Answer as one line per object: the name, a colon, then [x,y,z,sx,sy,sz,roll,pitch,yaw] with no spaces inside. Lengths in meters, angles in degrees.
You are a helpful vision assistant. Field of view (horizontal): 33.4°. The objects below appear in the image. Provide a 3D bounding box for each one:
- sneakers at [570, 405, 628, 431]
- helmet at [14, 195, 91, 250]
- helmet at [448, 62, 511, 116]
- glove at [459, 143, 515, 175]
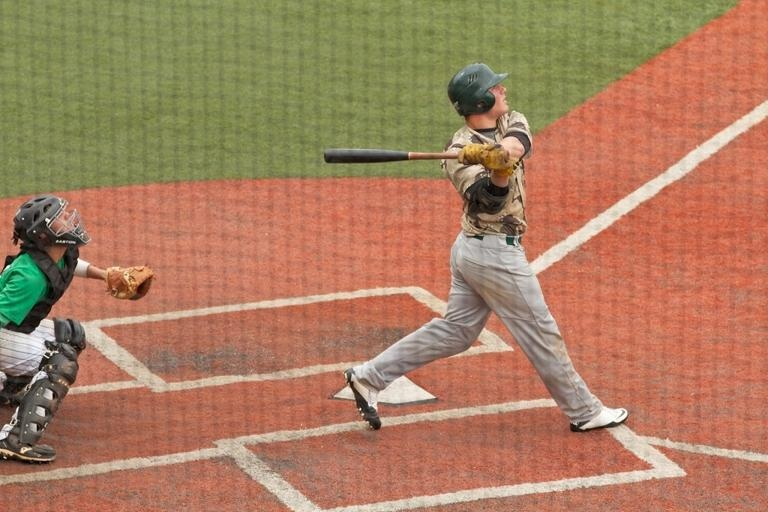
sneakers: [1.878,1.391,11.137,0.652,0.172,0.174,-6,21,-7]
helmet: [-2.852,-0.295,10.931,0.756,0.271,0.404,-2,17,-9]
helmet: [0.808,-1.390,10.724,0.666,0.288,0.384,-15,15,5]
glove: [0.839,-0.799,10.263,0.456,0.150,0.225,16,-14,10]
